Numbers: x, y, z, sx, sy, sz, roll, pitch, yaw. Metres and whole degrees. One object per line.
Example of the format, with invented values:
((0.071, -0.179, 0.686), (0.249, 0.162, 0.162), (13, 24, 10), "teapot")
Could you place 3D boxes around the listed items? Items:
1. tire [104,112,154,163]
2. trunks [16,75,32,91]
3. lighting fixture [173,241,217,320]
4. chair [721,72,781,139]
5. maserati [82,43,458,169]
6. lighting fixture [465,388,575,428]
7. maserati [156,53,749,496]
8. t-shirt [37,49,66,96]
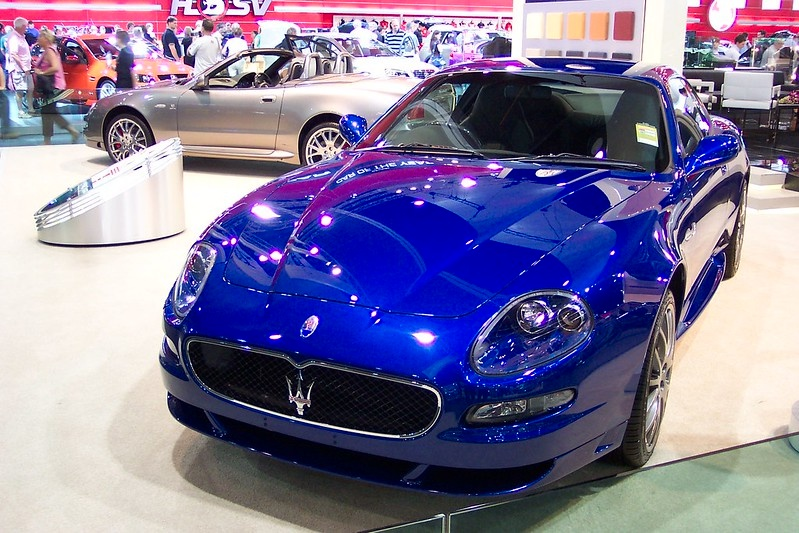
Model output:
((-4.300, -1.984, 8.584), (0.869, 0.845, 0.311), (2, 7, 18), "tire")
((-7.033, -3.475, 10.030), (0.302, 0.291, 0.089), (0, -5, 0), "trunks")
((-0.956, 0.052, 2.458), (0.211, 0.360, 0.085), (6, -23, 41), "lighting fixture")
((7.572, -3.544, 11.918), (1.058, 1.313, 0.786), (6, 1, 13), "chair")
((-2.322, -2.434, 8.543), (5.247, 1.540, 2.358), (4, 16, 11), "maserati")
((0.426, 0.518, 1.922), (0.195, 0.050, 0.197), (-10, 1, 17), "lighting fixture")
((0.377, -0.106, 2.747), (1.886, 1.894, 2.702), (13, 24, 38), "maserati")
((-6.701, -3.750, 10.216), (0.430, 0.802, 0.637), (-15, 23, -32), "t-shirt")
